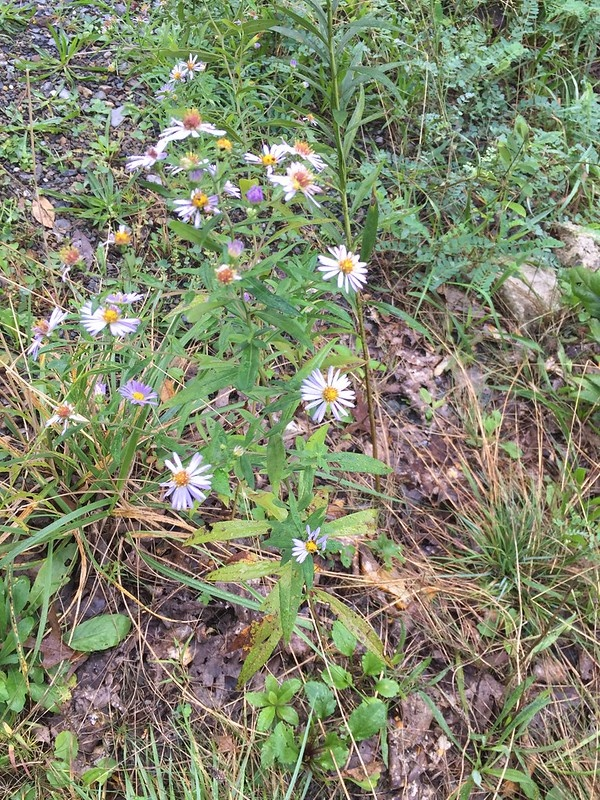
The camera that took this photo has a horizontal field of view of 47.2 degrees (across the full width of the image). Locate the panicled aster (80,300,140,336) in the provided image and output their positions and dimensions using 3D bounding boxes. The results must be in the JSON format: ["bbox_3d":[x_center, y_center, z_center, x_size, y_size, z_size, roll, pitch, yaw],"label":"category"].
[{"bbox_3d":[-0.498,-0.210,1.779,0.115,0.036,0.110,-26,65,-22],"label":"panicled aster"}]

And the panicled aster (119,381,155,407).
[{"bbox_3d":[-0.504,-0.006,2.080,0.099,0.031,0.096,-4,53,-37],"label":"panicled aster"}]
